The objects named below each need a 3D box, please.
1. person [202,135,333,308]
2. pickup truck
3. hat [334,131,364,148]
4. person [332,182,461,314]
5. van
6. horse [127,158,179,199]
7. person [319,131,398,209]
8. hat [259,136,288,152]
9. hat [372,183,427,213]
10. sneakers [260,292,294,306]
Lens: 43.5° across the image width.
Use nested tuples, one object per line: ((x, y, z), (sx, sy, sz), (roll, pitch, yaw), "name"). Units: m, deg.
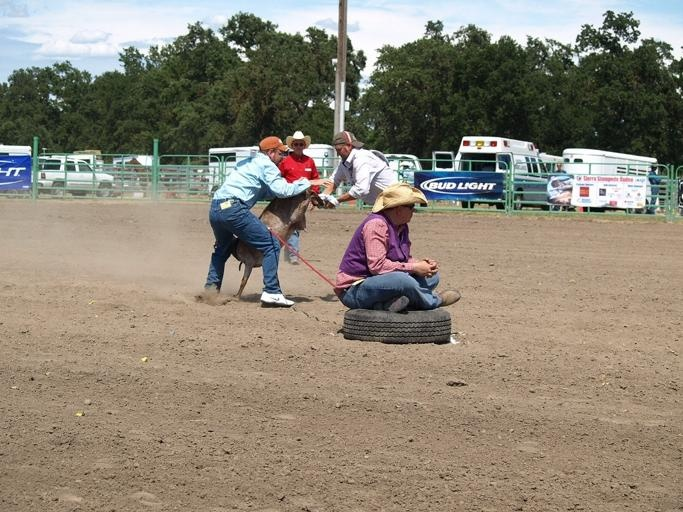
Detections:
((-1.010, -0.425, 10.013), (1.200, 1.991, 0.697), (2, 1, 3), "person")
((-10.164, -2.988, 32.229), (2.833, 1.168, 1.366), (-2, 6, -10), "pickup truck")
((0.098, -1.424, 10.483), (0.326, 0.143, 0.191), (-1, 6, -9), "hat")
((0.613, -0.062, 8.570), (1.373, 1.189, 1.044), (1, 8, -5), "person")
((4.983, -2.557, 27.288), (3.708, 1.597, 3.721), (5, 8, 44), "van")
((-7.060, -2.822, 31.941), (1.247, 1.155, 1.945), (0, 6, -5), "horse")
((0.237, -1.056, 10.766), (1.261, 0.791, 0.715), (-11, 14, -22), "person")
((-0.821, -1.323, 10.168), (0.285, 0.127, 0.199), (-5, 10, -22), "hat")
((0.582, -0.554, 8.300), (0.442, 0.162, 0.303), (-2, 3, -11), "hat")
((-0.757, 0.496, 9.868), (0.418, 0.152, 0.141), (4, 7, -19), "sneakers")
